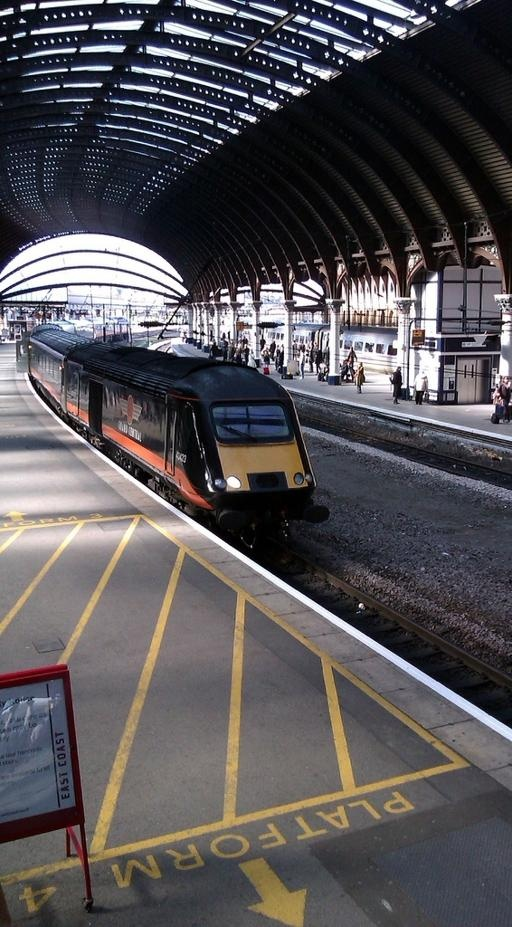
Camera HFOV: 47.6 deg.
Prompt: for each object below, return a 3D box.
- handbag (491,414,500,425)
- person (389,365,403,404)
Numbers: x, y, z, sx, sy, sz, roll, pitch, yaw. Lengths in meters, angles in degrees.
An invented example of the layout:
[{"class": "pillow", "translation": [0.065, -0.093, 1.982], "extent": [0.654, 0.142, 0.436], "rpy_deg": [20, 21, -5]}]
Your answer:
[{"class": "handbag", "translation": [12.063, -2.203, 29.174], "extent": [0.208, 0.352, 0.455], "rpy_deg": [-1, 20, -8]}, {"class": "person", "translation": [8.809, -4.844, 36.368], "extent": [0.539, 2.236, 1.589], "rpy_deg": [1, 2, 13]}]
